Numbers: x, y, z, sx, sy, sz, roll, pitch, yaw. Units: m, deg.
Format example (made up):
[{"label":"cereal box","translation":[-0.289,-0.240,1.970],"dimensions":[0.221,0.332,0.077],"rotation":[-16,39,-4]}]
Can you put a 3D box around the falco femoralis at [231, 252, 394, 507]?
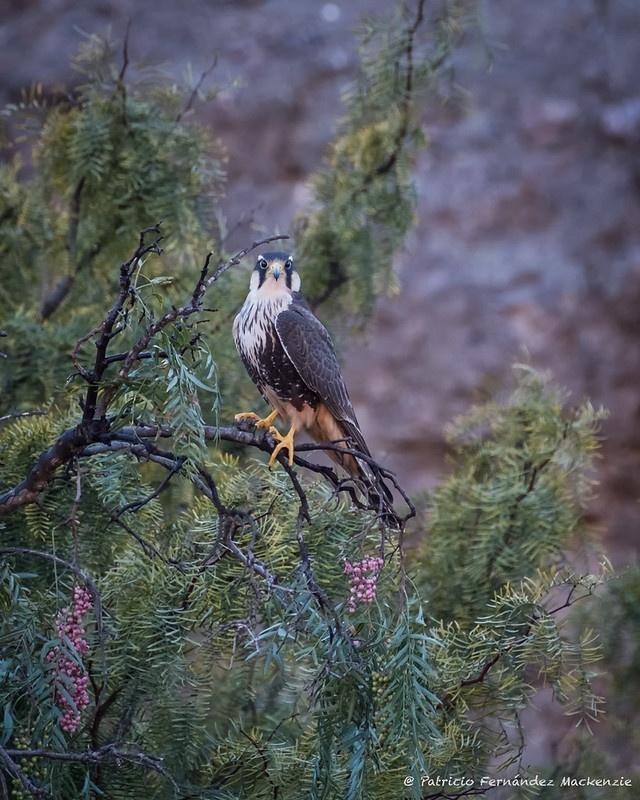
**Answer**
[{"label":"falco femoralis","translation":[-0.051,-0.069,3.037],"dimensions":[0.275,0.366,0.487],"rotation":[-1,-72,25]}]
